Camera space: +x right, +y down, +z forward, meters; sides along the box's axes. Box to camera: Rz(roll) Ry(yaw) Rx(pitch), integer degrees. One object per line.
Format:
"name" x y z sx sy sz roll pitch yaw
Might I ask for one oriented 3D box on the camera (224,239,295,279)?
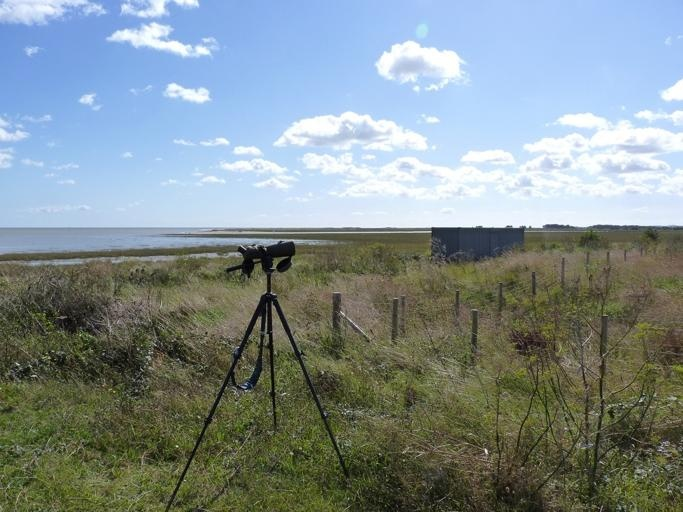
"camera" -1.166 0.033 8.719 0.989 0.560 0.492 -4 -4 13
